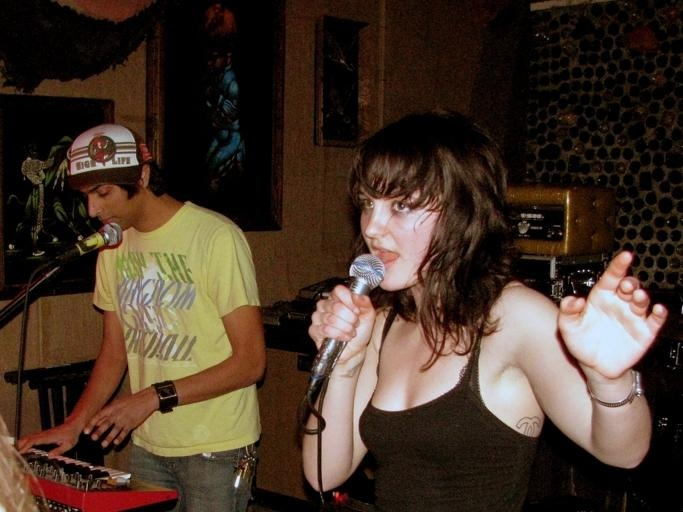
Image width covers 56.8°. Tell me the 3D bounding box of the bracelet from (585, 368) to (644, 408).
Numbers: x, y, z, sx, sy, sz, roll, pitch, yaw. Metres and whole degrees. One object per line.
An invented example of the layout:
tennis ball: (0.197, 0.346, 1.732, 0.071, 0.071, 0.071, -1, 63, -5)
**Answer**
bracelet: (0.695, 0.332, 1.617, 0.102, 0.100, 0.039, -19, 8, 0)

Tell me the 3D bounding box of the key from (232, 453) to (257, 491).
key: (-0.385, 0.864, 2.548, 0.076, 0.139, 0.031, 13, -7, -35)

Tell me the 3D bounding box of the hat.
hat: (-0.962, -0.429, 2.669, 0.226, 0.186, 0.331, 2, 13, 23)

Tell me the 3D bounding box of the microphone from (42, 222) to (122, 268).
microphone: (-0.934, -0.035, 2.351, 0.085, 0.090, 0.325, 13, 29, 30)

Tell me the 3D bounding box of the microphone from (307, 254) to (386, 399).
microphone: (0.012, 0.204, 1.846, 0.183, 0.428, 0.206, 4, 5, 23)
